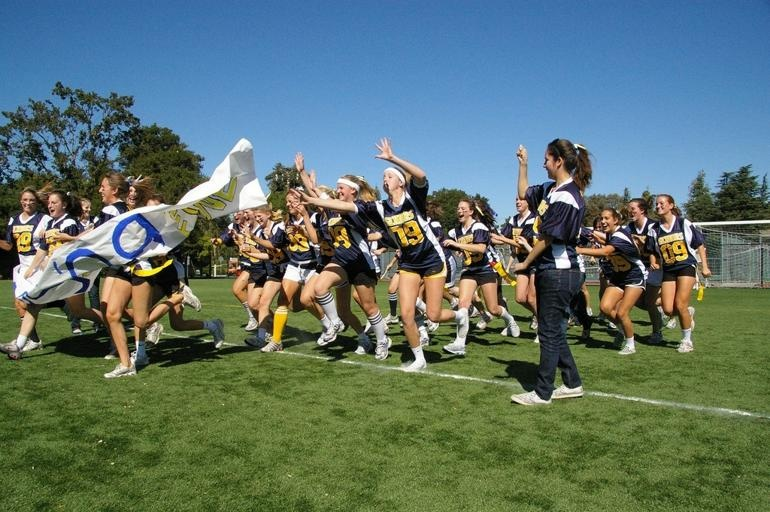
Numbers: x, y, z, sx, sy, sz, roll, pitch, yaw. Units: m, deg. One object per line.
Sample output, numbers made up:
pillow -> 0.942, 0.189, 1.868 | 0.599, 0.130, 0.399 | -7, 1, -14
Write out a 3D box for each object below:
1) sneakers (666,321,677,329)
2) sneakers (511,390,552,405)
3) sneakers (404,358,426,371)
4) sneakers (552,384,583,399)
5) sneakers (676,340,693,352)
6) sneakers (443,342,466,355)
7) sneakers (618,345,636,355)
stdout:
sneakers -> 6.711, 1.565, 9.998 | 0.149, 0.178, 0.443 | -7, -13, 34
sneakers -> 1.668, 1.594, 4.844 | 0.457, 0.162, 0.157 | 3, -23, 1
sneakers -> 0.363, 1.511, 6.039 | 0.390, 0.156, 0.133 | -4, -1, 41
sneakers -> 2.095, 1.534, 4.961 | 0.398, 0.167, 0.152 | 1, -6, 2
sneakers -> 5.125, 1.520, 7.298 | 0.143, 0.174, 0.424 | -9, -14, 28
sneakers -> 1.135, 1.433, 6.706 | 0.447, 0.221, 0.184 | 3, -5, -2
sneakers -> 4.112, 1.569, 7.188 | 0.358, 0.133, 0.123 | 2, -12, -19
